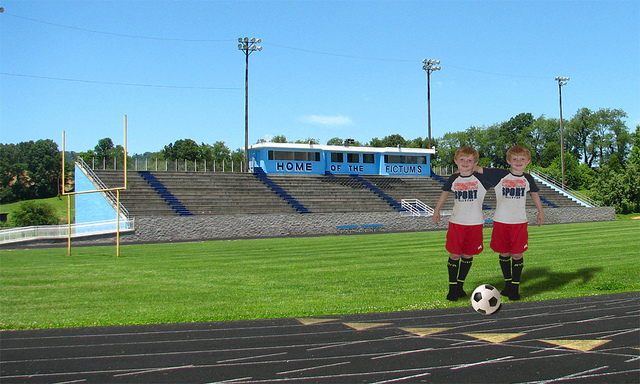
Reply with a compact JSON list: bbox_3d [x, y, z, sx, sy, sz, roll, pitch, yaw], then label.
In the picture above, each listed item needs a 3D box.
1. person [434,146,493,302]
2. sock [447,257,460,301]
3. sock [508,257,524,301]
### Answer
[{"bbox_3d":[3.874,0.880,16.080,1.039,4.078,0.740,-2,12,2],"label":"person"},{"bbox_3d":[3.549,2.348,16.181,0.271,1.148,0.334,0,12,12],"label":"sock"},{"bbox_3d":[5.243,2.327,16.233,0.270,1.148,0.508,7,15,37],"label":"sock"}]
